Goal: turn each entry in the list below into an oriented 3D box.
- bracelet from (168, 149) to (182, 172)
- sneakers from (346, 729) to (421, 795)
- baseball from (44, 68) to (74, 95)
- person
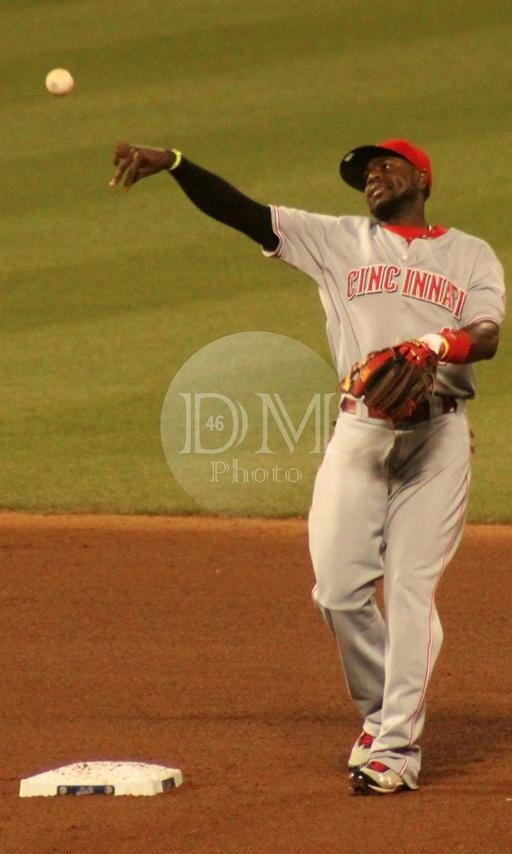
[{"bbox_3d":[-0.224,-0.763,3.396,0.027,0.053,0.044,9,-17,-19],"label":"bracelet"},{"bbox_3d":[0.336,0.927,3.249,0.216,0.123,0.189,2,5,26],"label":"sneakers"},{"bbox_3d":[-1.196,-2.087,7.143,0.136,0.168,0.298,-2,4,-13],"label":"baseball"},{"bbox_3d":[0.322,0.066,3.450,0.740,1.847,0.620,4,7,43],"label":"person"}]
